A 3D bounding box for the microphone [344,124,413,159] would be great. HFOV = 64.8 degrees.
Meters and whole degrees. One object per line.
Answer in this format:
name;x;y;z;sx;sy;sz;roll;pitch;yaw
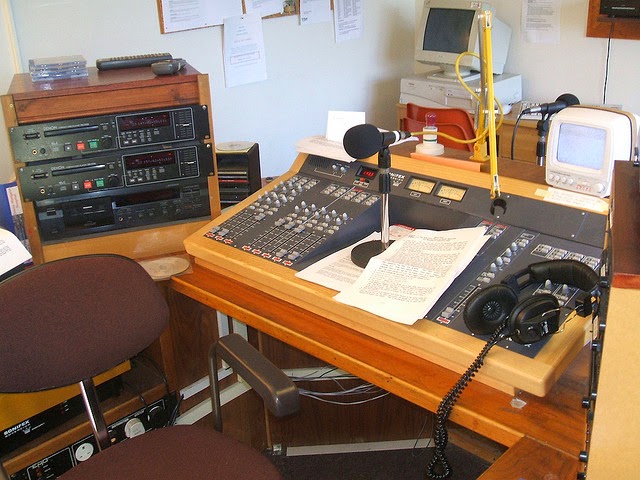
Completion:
microphone;0.209;-0.308;1.583;0.253;0.099;0.142;-15;10;-43
